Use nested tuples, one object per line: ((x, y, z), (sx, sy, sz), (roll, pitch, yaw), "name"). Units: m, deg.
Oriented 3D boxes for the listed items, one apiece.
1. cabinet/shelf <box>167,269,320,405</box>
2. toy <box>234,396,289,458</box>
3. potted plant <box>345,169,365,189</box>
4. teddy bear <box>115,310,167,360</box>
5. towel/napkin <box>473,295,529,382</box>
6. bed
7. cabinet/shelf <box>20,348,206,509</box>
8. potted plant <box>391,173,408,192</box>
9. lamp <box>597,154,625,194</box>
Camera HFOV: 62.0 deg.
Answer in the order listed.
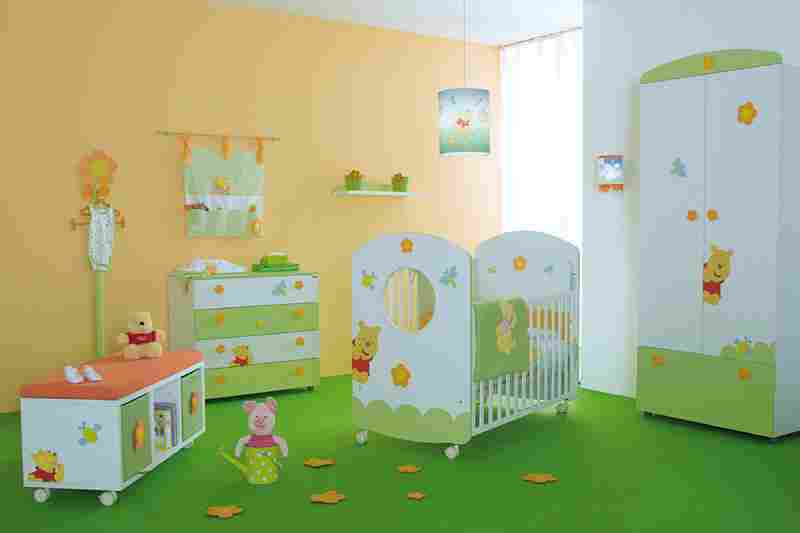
((-1.409, 0.632, 6.002), (1.177, 1.100, 0.691), (-1, -2, -43), "cabinet/shelf")
((-0.959, 1.122, 4.605), (0.455, 0.579, 0.210), (1, -1, -5), "toy")
((-0.431, -0.834, 6.354), (0.189, 0.179, 0.193), (-1, 13, -5), "potted plant")
((-1.822, 0.479, 4.686), (0.332, 0.329, 0.213), (-1, 7, -31), "teddy bear")
((0.711, 0.492, 4.689), (0.502, 0.526, 0.158), (-5, 6, -34), "towel/napkin")
((0.585, 0.502, 5.302), (1.254, 1.481, 1.800), (2, 3, 33), "bed")
((-1.871, 0.775, 4.402), (0.760, 0.774, 1.309), (0, 3, 10), "cabinet/shelf")
((0.003, -0.834, 6.575), (0.181, 0.132, 0.147), (0, 2, -6), "potted plant")
((1.824, -0.837, 5.708), (0.247, 0.357, 0.215), (-4, 24, 11), "lamp")
